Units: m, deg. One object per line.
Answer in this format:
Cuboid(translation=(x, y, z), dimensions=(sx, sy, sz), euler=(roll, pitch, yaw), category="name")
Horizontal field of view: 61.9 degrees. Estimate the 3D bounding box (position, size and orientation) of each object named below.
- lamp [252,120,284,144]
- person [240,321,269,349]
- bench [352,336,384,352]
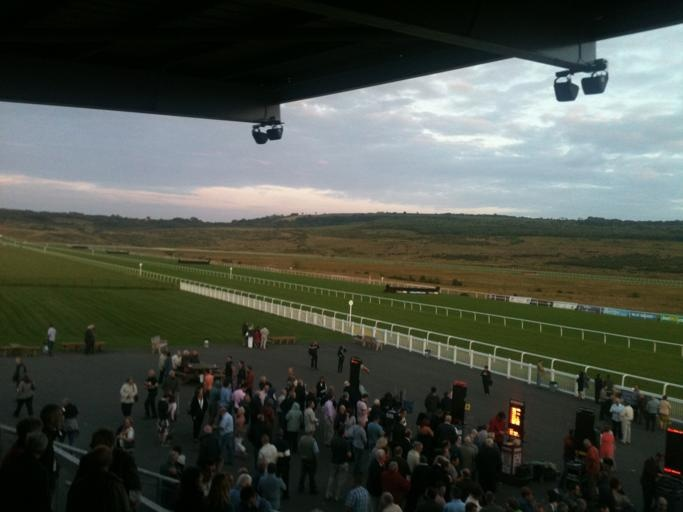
Cuboid(translation=(-1.782, -3.023, 13.808), dimensions=(0.499, 0.522, 0.648), euler=(1, 2, -38), category="lamp")
Cuboid(translation=(-4.767, 4.435, 31.554), dimensions=(1.145, 1.294, 1.355), euler=(1, 2, -39), category="person")
Cuboid(translation=(1.540, 5.049, 32.920), dimensions=(0.711, 0.416, 1.137), euler=(-6, 7, -44), category="bench")
